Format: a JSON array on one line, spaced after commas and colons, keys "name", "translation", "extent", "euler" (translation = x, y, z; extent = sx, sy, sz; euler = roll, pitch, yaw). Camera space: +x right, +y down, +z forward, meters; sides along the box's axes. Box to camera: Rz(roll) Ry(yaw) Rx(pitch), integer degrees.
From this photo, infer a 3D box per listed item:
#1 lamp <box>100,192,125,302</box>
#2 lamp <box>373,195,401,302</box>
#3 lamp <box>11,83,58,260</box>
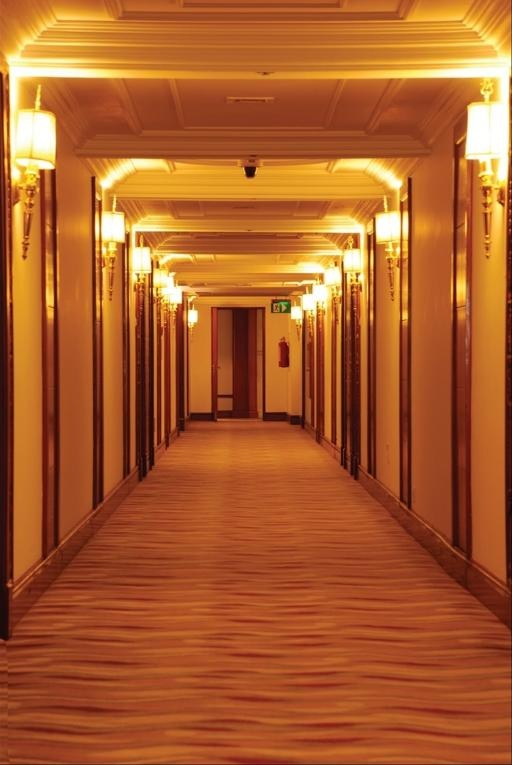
[{"name": "lamp", "translation": [-1.522, -1.442, 6.343], "extent": [0.226, 1.164, 0.872], "euler": [1, -4, -13]}, {"name": "lamp", "translation": [1.357, -1.422, 6.216], "extent": [0.231, 1.195, 0.759], "euler": [-1, -4, 12]}, {"name": "lamp", "translation": [-1.129, -1.044, 3.050], "extent": [0.182, 0.961, 0.207], "euler": [2, -9, -6]}]
